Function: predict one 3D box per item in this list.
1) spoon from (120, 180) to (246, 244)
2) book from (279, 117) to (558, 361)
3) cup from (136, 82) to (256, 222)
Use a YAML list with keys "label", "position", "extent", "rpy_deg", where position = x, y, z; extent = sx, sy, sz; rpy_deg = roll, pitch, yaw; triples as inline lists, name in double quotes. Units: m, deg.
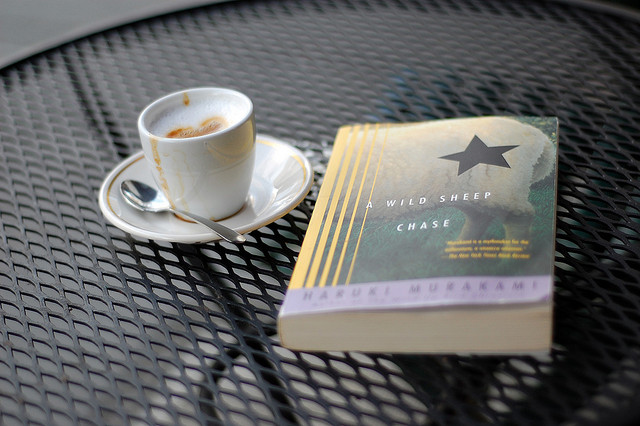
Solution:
- label: "spoon"
  position: [-0.148, 0.000, 0.601]
  extent: [0.139, 0.014, 0.025]
  rpy_deg: [21, 38, 15]
- label: "book"
  position: [0.112, 0.003, 0.542]
  extent: [0.238, 0.052, 0.298]
  rpy_deg: [8, 52, 9]
- label: "cup"
  position: [-0.133, -0.068, 0.646]
  extent: [0.141, 0.107, 0.127]
  rpy_deg: [6, 41, 12]
